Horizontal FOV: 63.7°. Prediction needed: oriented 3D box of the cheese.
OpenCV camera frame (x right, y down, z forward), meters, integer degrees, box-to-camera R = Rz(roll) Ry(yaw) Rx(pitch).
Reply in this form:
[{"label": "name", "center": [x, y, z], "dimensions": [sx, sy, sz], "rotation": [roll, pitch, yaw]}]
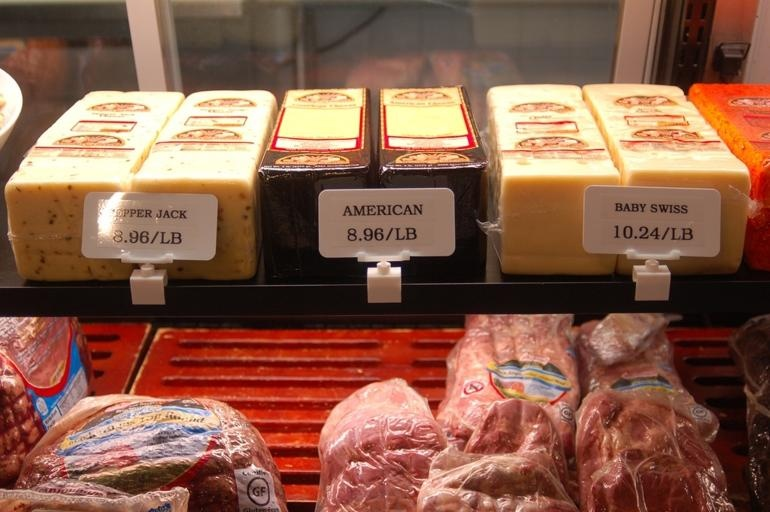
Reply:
[{"label": "cheese", "center": [0.010, -0.175, 1.388], "dimensions": [1.451, 0.385, 0.438], "rotation": [-2, 21, 2]}]
